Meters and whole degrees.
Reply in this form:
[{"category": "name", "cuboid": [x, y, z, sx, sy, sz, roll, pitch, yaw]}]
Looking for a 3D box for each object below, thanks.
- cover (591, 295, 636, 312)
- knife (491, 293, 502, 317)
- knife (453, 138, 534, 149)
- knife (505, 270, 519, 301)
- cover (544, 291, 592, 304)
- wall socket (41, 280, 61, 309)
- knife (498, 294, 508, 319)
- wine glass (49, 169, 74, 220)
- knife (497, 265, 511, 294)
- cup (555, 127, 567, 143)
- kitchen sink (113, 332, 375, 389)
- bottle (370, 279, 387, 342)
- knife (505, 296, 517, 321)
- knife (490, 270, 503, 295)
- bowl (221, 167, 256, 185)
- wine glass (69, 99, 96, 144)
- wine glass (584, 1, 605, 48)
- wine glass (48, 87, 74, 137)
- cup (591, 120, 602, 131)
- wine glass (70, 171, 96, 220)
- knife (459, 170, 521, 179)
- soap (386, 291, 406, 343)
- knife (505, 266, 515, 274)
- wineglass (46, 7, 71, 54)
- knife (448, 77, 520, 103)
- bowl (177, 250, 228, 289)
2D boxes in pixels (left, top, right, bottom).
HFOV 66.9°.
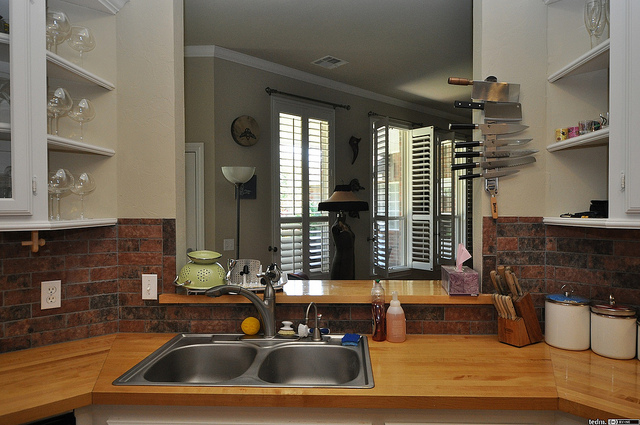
[{"category": "cover", "cuboid": [1.628, 0.522, 2.692, 0.117, 0.052, 0.116, -1, -1, -15]}, {"category": "knife", "cuboid": [1.038, 0.553, 2.850, 0.026, 0.092, 0.106, -10, -6, 15]}, {"category": "knife", "cuboid": [1.019, -0.425, 3.017, 0.518, 0.046, 0.268, -1, -1, -12]}, {"category": "knife", "cuboid": [1.117, 0.422, 2.821, 0.053, 0.207, 0.056, -17, 6, -26]}, {"category": "cover", "cuboid": [1.446, 0.494, 2.823, 0.235, 0.060, 0.182, -2, -1, 30]}, {"category": "wall socket", "cuboid": [-1.547, 0.472, 2.788, 0.101, 0.167, 0.015, -1, 12, -33]}, {"category": "knife", "cuboid": [1.063, 0.550, 2.833, 0.041, 0.157, 0.036, -11, 6, 20]}, {"category": "wine glass", "cuboid": [-1.466, -0.105, 2.752, 0.119, 0.290, 0.244, -1, -1, -29]}, {"category": "knife", "cuboid": [1.086, 0.384, 2.870, 0.030, 0.200, 0.046, -11, 4, 16]}, {"category": "cup", "cuboid": [1.423, -0.462, 2.872, 0.081, 0.086, 0.080, -1, 9, 0]}, {"category": "kitchen sink", "cuboid": [-0.382, 0.855, 2.698, 1.333, 0.267, 0.533, -2, -1, 1]}, {"category": "bottle", "cuboid": [0.352, 0.585, 2.908, 0.091, 0.359, 0.105, -2, -1, 3]}, {"category": "knife", "cuboid": [1.101, 0.547, 2.796, 0.049, 0.186, 0.038, -7, 6, 6]}, {"category": "knife", "cuboid": [1.037, 0.406, 2.862, 0.045, 0.172, 0.031, -24, 15, -10]}, {"category": "bowl", "cuboid": [-0.635, -0.262, 3.740, 0.163, 0.080, 0.159, -1, 1, 0]}, {"category": "wine glass", "cuboid": [-1.389, -0.525, 2.827, 0.154, 0.263, 0.153, 13, 11, 1]}, {"category": "wine glass", "cuboid": [1.525, -1.076, 2.691, 0.095, 0.216, 0.072, -2, -1, 29]}, {"category": "wine glass", "cuboid": [-1.440, -0.617, 2.697, 0.126, 0.169, 0.119, -1, -1, -27]}, {"category": "cup", "cuboid": [1.545, -0.490, 2.710, 0.041, 0.044, 0.048, 1, 0, 36]}, {"category": "wine glass", "cuboid": [-1.375, -0.105, 2.819, 0.130, 0.293, 0.192, -1, -1, -25]}, {"category": "knife", "cuboid": [1.037, -0.230, 2.965, 0.368, 0.040, 0.065, -2, -1, 4]}, {"category": "soap", "cuboid": [0.465, 0.620, 2.874, 0.142, 0.192, 0.074, -1, -1, -24]}, {"category": "knife", "cuboid": [1.134, 0.336, 2.896, 0.049, 0.012, 0.049, -2, -31, -2]}, {"category": "wineglass", "cuboid": [-1.428, -1.020, 2.642, 0.111, 0.186, 0.065, -1, -1, -29]}, {"category": "knife", "cuboid": [1.062, -0.730, 2.948, 0.290, 0.114, 0.048, -2, -1, -1]}, {"category": "bowl", "cuboid": [-0.715, 0.358, 2.965, 0.235, 0.129, 0.247, 0, 1, 0]}]
